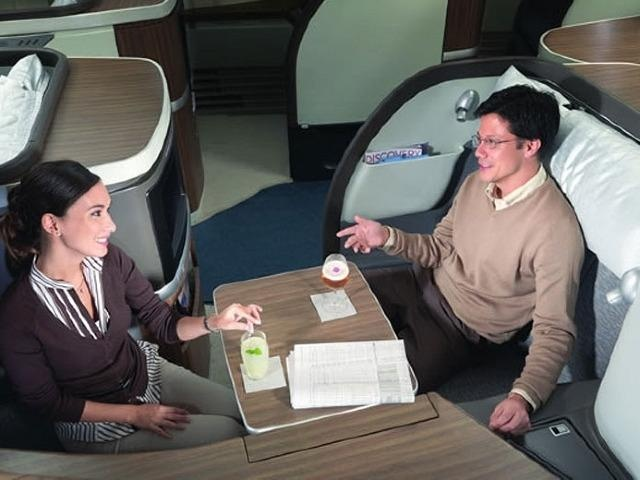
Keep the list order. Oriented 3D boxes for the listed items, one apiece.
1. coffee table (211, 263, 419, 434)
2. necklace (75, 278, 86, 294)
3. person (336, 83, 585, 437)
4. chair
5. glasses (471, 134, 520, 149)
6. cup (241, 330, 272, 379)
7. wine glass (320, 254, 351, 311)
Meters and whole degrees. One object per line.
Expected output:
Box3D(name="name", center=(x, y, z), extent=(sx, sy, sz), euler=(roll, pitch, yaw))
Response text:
Box3D(name="coffee table", center=(-0.081, 0.375, 1.629), extent=(0.425, 0.135, 0.563), euler=(-9, 42, -12))
Box3D(name="necklace", center=(-0.742, 0.147, 1.421), extent=(0.026, 0.034, 0.038), euler=(1, 82, -1))
Box3D(name="person", center=(0.564, 0.068, 1.772), extent=(0.664, 1.064, 0.856), euler=(-5, 44, -1))
Box3D(name="chair", center=(0.632, -0.185, 2.514), extent=(1.186, 1.581, 1.610), euler=(-17, 55, -10))
Box3D(name="glasses", center=(0.691, -0.382, 1.774), extent=(0.148, 0.046, 0.147), euler=(-5, 21, -19))
Box3D(name="cup", center=(-0.196, 0.358, 1.395), extent=(0.095, 0.143, 0.095), euler=(-1, 40, 1))
Box3D(name="wine glass", center=(0.055, 0.160, 1.619), extent=(0.095, 0.223, 0.095), euler=(-6, 16, -14))
